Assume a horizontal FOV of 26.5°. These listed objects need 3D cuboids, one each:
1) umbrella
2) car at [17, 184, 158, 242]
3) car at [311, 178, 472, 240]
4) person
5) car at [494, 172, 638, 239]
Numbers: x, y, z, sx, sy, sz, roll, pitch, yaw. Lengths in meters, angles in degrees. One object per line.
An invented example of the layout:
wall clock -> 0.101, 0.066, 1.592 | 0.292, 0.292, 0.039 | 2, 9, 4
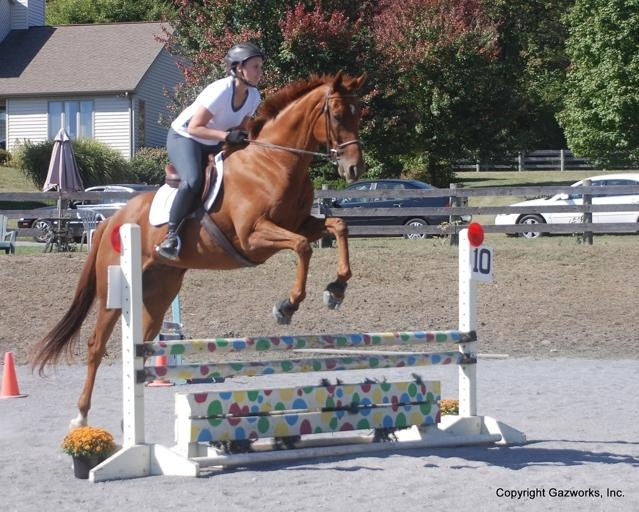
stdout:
umbrella -> -5.827, -1.554, 30.621 | 0.865, 2.534, 0.877 | 1, 6, -27
car -> -5.576, -1.038, 31.989 | 3.789, 1.188, 1.606 | 1, 1, 7
car -> 1.715, -1.126, 31.055 | 3.257, 1.444, 1.653 | 1, 2, 9
person -> -1.653, -1.635, 20.055 | 1.311, 3.221, 1.160 | 16, 15, 14
car -> 5.949, -1.180, 31.722 | 3.028, 1.435, 4.296 | -1, 2, 14
